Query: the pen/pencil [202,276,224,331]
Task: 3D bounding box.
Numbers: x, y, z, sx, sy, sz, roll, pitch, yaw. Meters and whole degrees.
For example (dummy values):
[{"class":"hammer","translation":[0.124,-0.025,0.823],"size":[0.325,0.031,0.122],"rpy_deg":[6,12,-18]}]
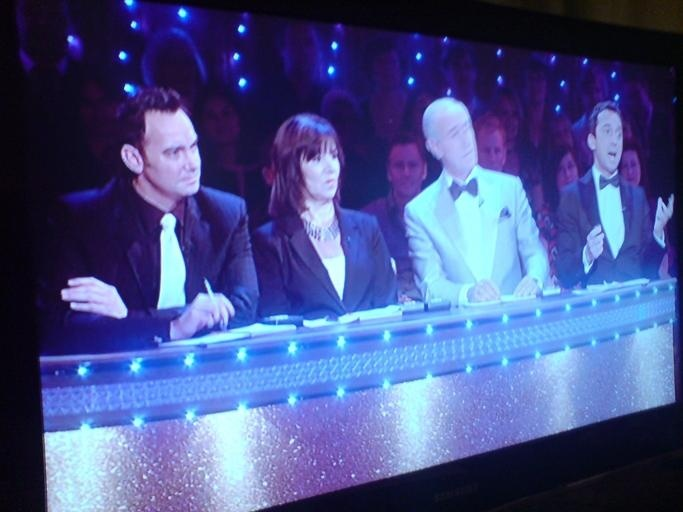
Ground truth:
[{"class":"pen/pencil","translation":[-0.511,0.188,2.531],"size":[0.022,0.215,0.027],"rpy_deg":[-19,6,-28]}]
